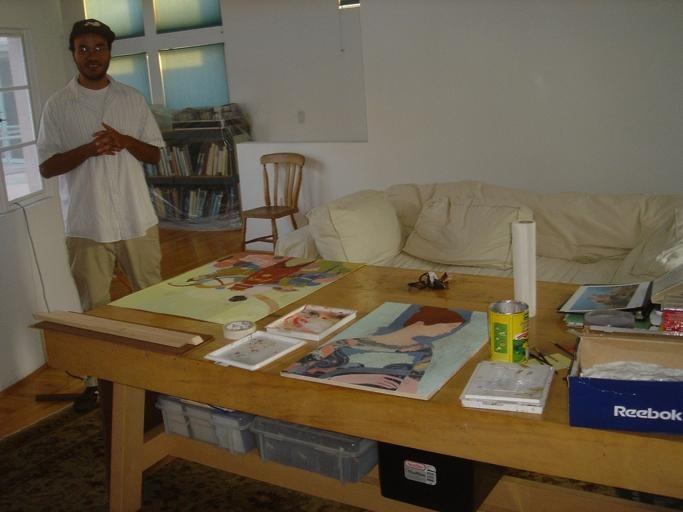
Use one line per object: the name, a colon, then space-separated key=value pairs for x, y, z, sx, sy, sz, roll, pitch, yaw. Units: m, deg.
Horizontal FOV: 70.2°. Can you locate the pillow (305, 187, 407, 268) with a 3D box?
pillow: x=0.062 y=-0.154 z=2.817 sx=0.478 sy=0.418 sz=0.149 roll=-20 pitch=-4 yaw=-33

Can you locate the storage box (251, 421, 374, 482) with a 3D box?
storage box: x=-0.084 y=0.563 z=1.463 sx=0.320 sy=0.087 sz=0.208 roll=7 pitch=14 yaw=24

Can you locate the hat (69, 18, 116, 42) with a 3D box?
hat: x=-1.362 y=-1.248 z=2.645 sx=0.180 sy=0.066 sz=0.205 roll=-6 pitch=28 yaw=-21

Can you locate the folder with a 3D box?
folder: x=0.720 y=0.121 z=1.332 sx=0.178 sy=0.012 sz=0.194 roll=-3 pitch=20 yaw=41

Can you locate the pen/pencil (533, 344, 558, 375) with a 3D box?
pen/pencil: x=0.468 y=0.239 z=1.114 sx=0.034 sy=0.005 sz=0.093 roll=-20 pitch=16 yaw=-9

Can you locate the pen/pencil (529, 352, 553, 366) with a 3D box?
pen/pencil: x=0.460 y=0.239 z=1.135 sx=0.015 sy=0.002 sz=0.042 roll=-28 pitch=18 yaw=-16
